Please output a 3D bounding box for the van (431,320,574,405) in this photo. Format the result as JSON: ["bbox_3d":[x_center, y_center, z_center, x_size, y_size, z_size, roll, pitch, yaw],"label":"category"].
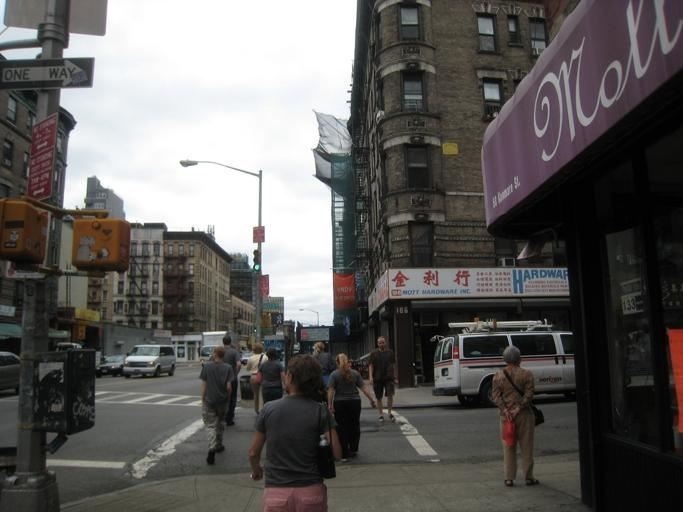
[{"bbox_3d":[4.637,2.894,19.577,3.996,2.465,2.527,-2,-7,-7],"label":"van"}]

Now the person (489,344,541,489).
[{"bbox_3d":[2.480,2.245,9.599,0.595,1.932,0.463,-1,-8,3],"label":"person"}]

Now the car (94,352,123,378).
[{"bbox_3d":[-13.913,6.563,40.721,1.478,1.281,2.289,3,-10,-21],"label":"car"}]

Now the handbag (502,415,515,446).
[{"bbox_3d":[2.337,2.434,9.433,0.186,0.386,0.178,-3,-9,15],"label":"handbag"}]

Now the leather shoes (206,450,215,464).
[{"bbox_3d":[-2.194,3.351,11.330,0.145,0.230,0.305,1,-10,-11],"label":"leather shoes"}]

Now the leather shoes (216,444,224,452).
[{"bbox_3d":[-2.172,3.432,12.118,0.106,0.086,0.188,1,-3,-2],"label":"leather shoes"}]

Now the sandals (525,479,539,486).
[{"bbox_3d":[2.663,3.132,9.443,0.173,0.078,0.076,-3,-2,-26],"label":"sandals"}]

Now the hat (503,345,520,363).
[{"bbox_3d":[2.474,1.455,9.849,0.189,0.271,0.259,2,-37,17],"label":"hat"}]

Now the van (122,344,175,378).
[{"bbox_3d":[-10.888,5.919,38.632,1.522,1.315,3.169,-2,-16,2],"label":"van"}]

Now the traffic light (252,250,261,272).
[{"bbox_3d":[-3.222,0.133,25.792,0.231,0.825,0.731,2,-9,-14],"label":"traffic light"}]

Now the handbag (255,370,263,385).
[{"bbox_3d":[-1.662,2.385,13.388,0.127,0.240,0.226,2,3,22],"label":"handbag"}]

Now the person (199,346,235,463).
[{"bbox_3d":[-2.209,2.580,12.033,0.573,1.998,1.454,1,-9,-11],"label":"person"}]
